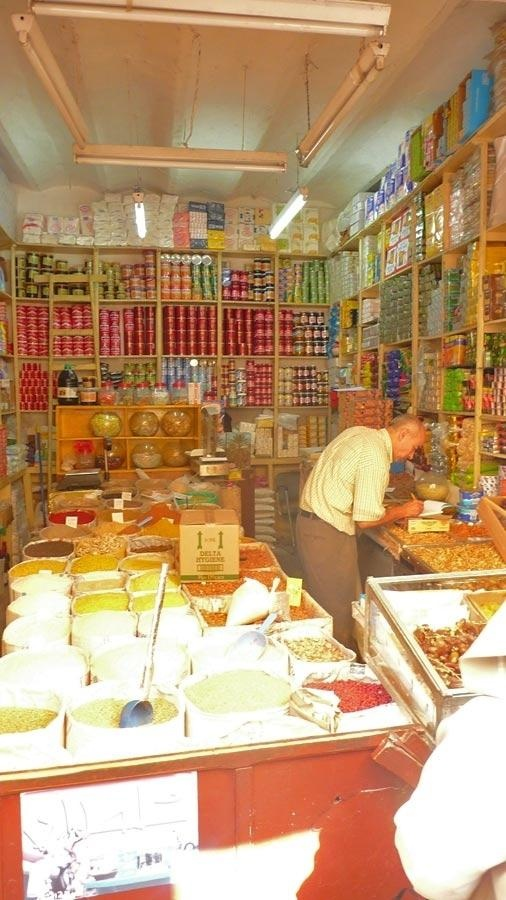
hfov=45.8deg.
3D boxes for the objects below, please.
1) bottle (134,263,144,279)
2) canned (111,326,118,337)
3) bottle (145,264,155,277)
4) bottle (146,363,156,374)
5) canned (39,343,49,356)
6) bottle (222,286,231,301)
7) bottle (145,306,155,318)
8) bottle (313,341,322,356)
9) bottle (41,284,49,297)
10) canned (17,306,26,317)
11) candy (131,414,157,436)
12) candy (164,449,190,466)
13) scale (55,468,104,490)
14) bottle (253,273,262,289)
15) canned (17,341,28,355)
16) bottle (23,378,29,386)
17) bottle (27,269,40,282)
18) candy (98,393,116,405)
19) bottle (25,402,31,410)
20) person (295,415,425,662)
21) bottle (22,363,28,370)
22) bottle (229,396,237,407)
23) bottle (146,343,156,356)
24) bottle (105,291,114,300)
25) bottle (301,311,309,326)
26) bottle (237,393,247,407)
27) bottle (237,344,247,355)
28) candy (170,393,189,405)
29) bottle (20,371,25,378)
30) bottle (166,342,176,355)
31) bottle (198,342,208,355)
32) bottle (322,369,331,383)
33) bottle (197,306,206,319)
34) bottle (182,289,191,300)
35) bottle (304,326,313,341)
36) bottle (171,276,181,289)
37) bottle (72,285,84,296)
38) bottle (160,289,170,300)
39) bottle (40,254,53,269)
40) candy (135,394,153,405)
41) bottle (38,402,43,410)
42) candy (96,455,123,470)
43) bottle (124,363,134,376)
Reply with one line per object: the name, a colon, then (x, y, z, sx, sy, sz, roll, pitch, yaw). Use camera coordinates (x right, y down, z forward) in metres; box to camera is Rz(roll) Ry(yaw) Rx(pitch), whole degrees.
bottle: (-1.199, -1.894, 6.336, 0.113, 0.135, 0.117, 5, 10, 24)
canned: (-1.458, -1.254, 6.358, 0.036, 0.126, 0.095, 11, 15, 33)
bottle: (-1.080, -1.879, 6.283, 0.111, 0.131, 0.115, 3, 7, 27)
bottle: (-1.078, -0.866, 6.374, 0.105, 0.126, 0.110, 0, 7, -6)
canned: (-2.204, -1.058, 6.326, 0.123, 0.131, 0.127, 0, 13, -9)
bottle: (-0.286, -1.701, 6.566, 0.120, 0.146, 0.124, 1, 2, -18)
bottle: (-1.098, -1.458, 6.384, 0.099, 0.121, 0.102, 2, -4, -20)
bottle: (0.761, -1.164, 6.920, 0.140, 0.170, 0.145, 2, 6, 19)
bottle: (-2.155, -1.632, 6.203, 0.096, 0.143, 0.067, 2, 12, -3)
canned: (-2.372, -1.419, 6.153, 0.092, 0.098, 0.096, 3, 11, 9)
candy: (-0.951, -0.221, 5.310, 0.190, 0.126, 0.200, 11, 23, 4)
candy: (-0.688, 0.071, 5.281, 0.154, 0.119, 0.155, 3, 8, 22)
scale: (-1.317, 0.242, 4.615, 0.339, 0.069, 0.659, 1, 14, -7)
bottle: (0.042, -1.848, 6.595, 0.104, 0.180, 0.108, 1, 10, 0)
canned: (-2.374, -1.043, 6.187, 0.113, 0.123, 0.118, 8, 13, 25)
bottle: (-2.352, -0.699, 6.226, 0.052, 0.072, 0.013, -2, 13, -21)
bottle: (-2.241, -1.777, 6.123, 0.105, 0.132, 0.123, -2, 5, -43)
candy: (-1.294, -0.451, 5.316, 0.113, 0.122, 0.119, -1, 7, -8)
bottle: (-2.329, -0.454, 6.251, 0.061, 0.090, 0.028, -2, 13, -21)
person: (0.470, 0.491, 2.995, 0.520, 1.440, 0.477, 12, 27, 13)
bottle: (-2.362, -0.859, 6.224, 0.062, 0.071, 0.061, 1, 12, -5)
bottle: (-0.218, -0.545, 6.704, 0.103, 0.181, 0.108, 0, 3, 0)
bottle: (-1.085, -1.068, 6.396, 0.115, 0.140, 0.120, 1, 7, 0)
bottle: (-1.501, -1.611, 6.281, 0.084, 0.095, 0.087, -3, 9, -20)
bottle: (0.590, -1.499, 6.871, 0.120, 0.219, 0.126, 0, 6, 0)
bottle: (-0.121, -0.549, 6.749, 0.123, 0.150, 0.128, 2, 7, 14)
bottle: (-0.118, -1.108, 6.637, 0.106, 0.127, 0.111, 1, 10, 0)
candy: (-0.669, -0.466, 5.414, 0.114, 0.091, 0.117, 1, -2, 0)
bottle: (-2.390, -0.781, 6.219, 0.045, 0.088, 0.034, -2, 13, -21)
bottle: (-0.864, -1.074, 6.393, 0.117, 0.140, 0.123, 3, 6, 4)
bottle: (-0.537, -1.085, 6.450, 0.116, 0.140, 0.121, 3, 10, 16)
bottle: (0.833, -0.843, 6.909, 0.117, 0.142, 0.122, 1, 9, 5)
bottle: (-0.549, -1.459, 6.401, 0.103, 0.185, 0.111, 0, -4, 0)
bottle: (-0.704, -1.642, 6.368, 0.102, 0.112, 0.107, 3, 10, 13)
bottle: (0.640, -1.328, 6.853, 0.104, 0.185, 0.123, 0, 0, -16)
bottle: (-0.819, -1.765, 6.324, 0.109, 0.127, 0.114, 0, 10, -8)
bottle: (-1.808, -1.636, 6.213, 0.109, 0.111, 0.109, -7, 12, -38)
bottle: (-0.918, -1.638, 6.318, 0.099, 0.102, 0.103, 2, 7, 8)
bottle: (-2.141, -1.957, 6.284, 0.095, 0.187, 0.190, 4, 13, 3)
candy: (-0.970, -0.457, 5.351, 0.101, 0.069, 0.106, 0, 13, -8)
bottle: (-2.215, -0.455, 6.275, 0.052, 0.089, 0.037, -2, 13, -21)
candy: (-1.273, 0.110, 5.303, 0.245, 0.142, 0.169, 0, 13, -14)
bottle: (-1.292, -0.840, 6.287, 0.108, 0.129, 0.113, 1, 9, -8)
